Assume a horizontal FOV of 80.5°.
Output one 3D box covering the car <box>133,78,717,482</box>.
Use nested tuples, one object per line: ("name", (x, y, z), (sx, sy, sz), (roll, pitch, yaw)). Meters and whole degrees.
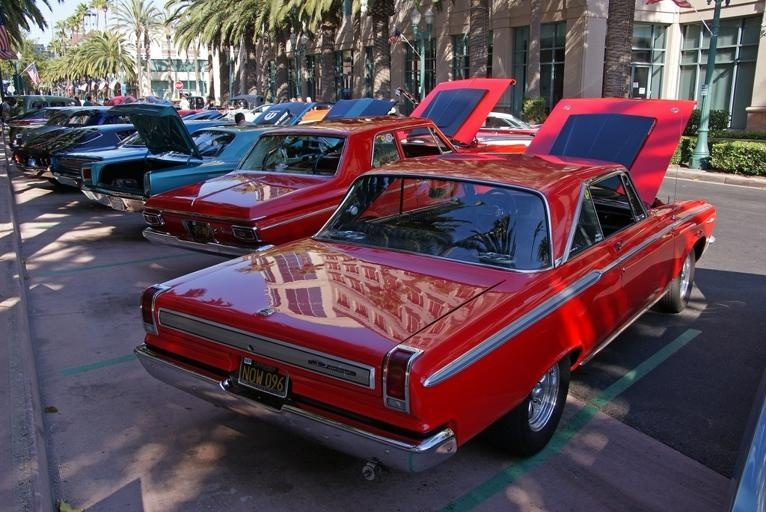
("car", (0.540, 0.335, 3.865), (4.282, 2.127, 2.142), (-15, 23, -36))
